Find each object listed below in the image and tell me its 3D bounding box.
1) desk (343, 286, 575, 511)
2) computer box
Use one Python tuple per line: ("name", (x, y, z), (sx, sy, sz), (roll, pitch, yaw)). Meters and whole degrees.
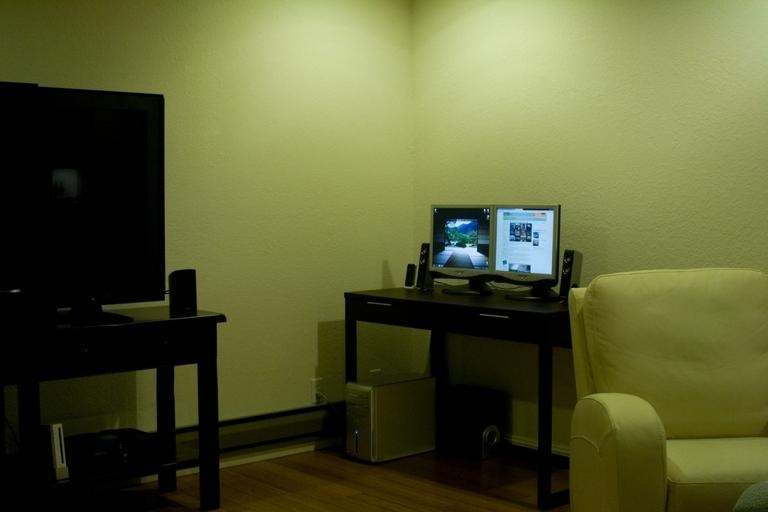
("desk", (0.489, 0.918, 3.871), (0.564, 0.764, 1.249), (2, -2, -43))
("computer box", (0.027, 1.082, 4.213), (0.567, 0.441, 0.301), (4, -6, -43))
